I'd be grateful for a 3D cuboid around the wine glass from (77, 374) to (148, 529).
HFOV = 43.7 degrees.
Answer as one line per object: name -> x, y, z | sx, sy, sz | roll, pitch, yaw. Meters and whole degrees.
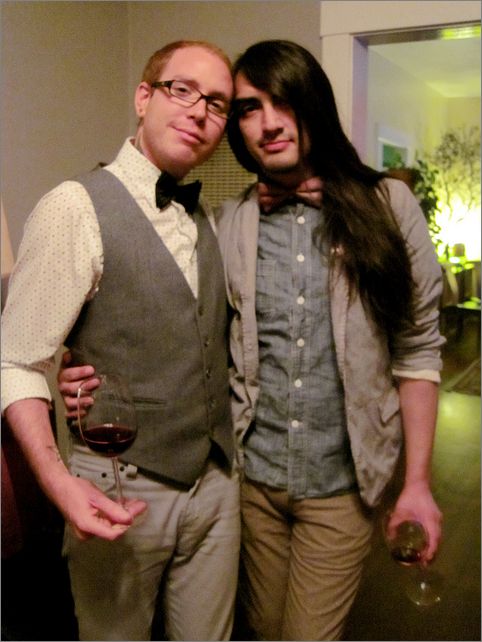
wine glass -> -0.232, 0.174, 1.044 | 0.097, 0.143, 0.099 | -5, 9, -17
